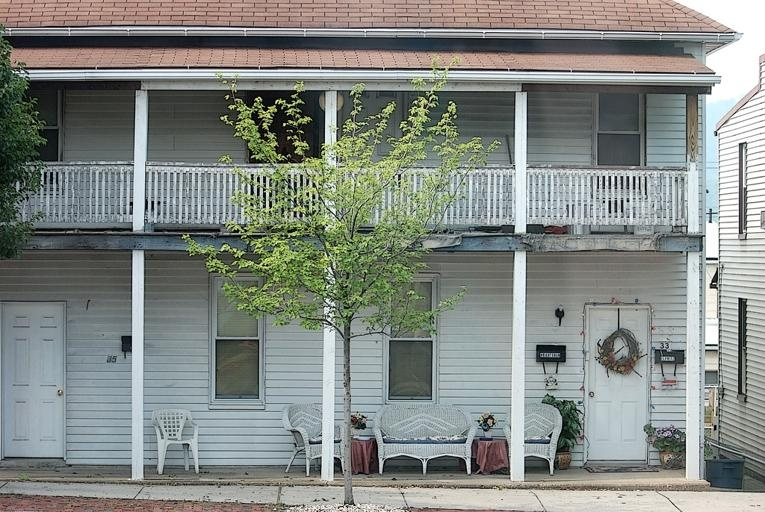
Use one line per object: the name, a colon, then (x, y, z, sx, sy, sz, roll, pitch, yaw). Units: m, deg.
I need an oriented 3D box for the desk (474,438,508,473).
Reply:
desk: (2.441, 4.214, 34.274, 0.849, 0.612, 0.844, -3, 9, 10)

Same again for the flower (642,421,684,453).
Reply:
flower: (6.212, 3.969, 34.565, 0.896, 0.642, 0.350, -2, -3, 6)

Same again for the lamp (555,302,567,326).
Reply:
lamp: (3.950, 1.307, 34.885, 0.292, 0.379, 0.098, 2, 9, -2)

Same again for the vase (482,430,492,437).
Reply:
vase: (2.311, 3.844, 34.245, 0.167, 0.087, 0.121, 1, -8, -2)

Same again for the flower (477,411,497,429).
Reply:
flower: (2.306, 3.566, 34.236, 0.414, 0.321, 0.387, 6, -12, -37)

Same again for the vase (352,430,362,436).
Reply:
vase: (-0.536, 3.810, 34.228, 0.102, 0.159, 0.282, -4, -4, 39)

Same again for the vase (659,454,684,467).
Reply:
vase: (6.389, 4.442, 34.437, 0.411, 0.208, 0.356, -1, -4, 2)

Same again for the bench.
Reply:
bench: (0.910, 3.951, 34.130, 2.168, 1.512, 0.808, -2, -3, 0)

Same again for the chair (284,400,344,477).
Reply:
chair: (-1.158, 3.879, 34.460, 1.704, 1.645, 1.493, 6, -13, -30)

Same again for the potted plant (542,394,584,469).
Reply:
potted plant: (3.824, 3.896, 34.594, 1.114, 1.351, 0.929, -1, -4, -25)

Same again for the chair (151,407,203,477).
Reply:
chair: (-4.470, 3.966, 34.016, 0.995, 1.367, 1.036, -2, -3, -6)

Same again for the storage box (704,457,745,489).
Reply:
storage box: (7.477, 4.680, 34.217, 0.827, 0.602, 0.717, 1, 2, 5)

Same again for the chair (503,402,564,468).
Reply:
chair: (3.309, 3.876, 34.164, 1.383, 1.172, 1.002, -2, 6, 9)

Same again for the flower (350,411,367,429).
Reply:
flower: (-0.475, 3.579, 34.325, 0.394, 0.308, 0.368, 1, -5, -22)

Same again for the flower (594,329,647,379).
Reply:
flower: (5.231, 2.093, 34.860, 1.112, 0.849, 0.351, 18, -11, -20)
